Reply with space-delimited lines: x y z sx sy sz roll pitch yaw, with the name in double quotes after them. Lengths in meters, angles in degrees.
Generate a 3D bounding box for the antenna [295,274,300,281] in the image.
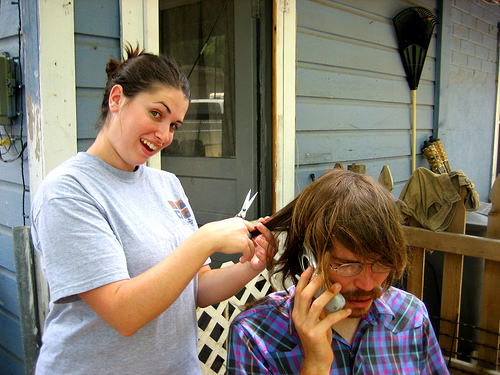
0.253 0.479 2.241 0.010 0.030 0.044 10 -8 12 "antenna"

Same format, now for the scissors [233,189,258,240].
-0.020 0.159 2.743 0.080 0.213 0.218 17 41 8 "scissors"

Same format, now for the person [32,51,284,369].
-0.447 0.147 1.920 0.969 1.555 0.550 -2 5 -31 "person"
